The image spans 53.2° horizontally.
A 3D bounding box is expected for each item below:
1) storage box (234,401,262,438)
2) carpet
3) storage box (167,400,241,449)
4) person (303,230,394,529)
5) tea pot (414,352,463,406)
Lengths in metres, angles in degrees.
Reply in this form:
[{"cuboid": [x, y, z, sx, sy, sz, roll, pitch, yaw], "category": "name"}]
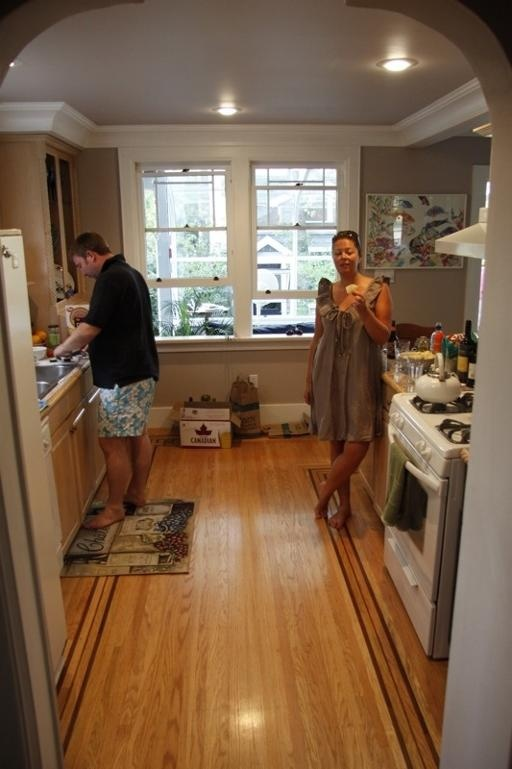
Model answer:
[{"cuboid": [-0.088, 0.270, 4.282, 0.297, 0.433, 0.230, -2, 0, -4], "category": "storage box"}, {"cuboid": [-0.659, 0.816, 2.800, 0.628, 0.043, 0.773, -1, 11, -3], "category": "carpet"}, {"cuboid": [-0.401, 0.231, 4.092, 0.415, 0.333, 0.326, 0, 9, 0], "category": "storage box"}, {"cuboid": [0.470, 0.005, 2.725, 0.443, 1.589, 0.450, 2, 10, 14], "category": "person"}, {"cuboid": [0.737, -0.023, 2.078, 0.200, 0.219, 0.150, 1, 12, 13], "category": "tea pot"}]
